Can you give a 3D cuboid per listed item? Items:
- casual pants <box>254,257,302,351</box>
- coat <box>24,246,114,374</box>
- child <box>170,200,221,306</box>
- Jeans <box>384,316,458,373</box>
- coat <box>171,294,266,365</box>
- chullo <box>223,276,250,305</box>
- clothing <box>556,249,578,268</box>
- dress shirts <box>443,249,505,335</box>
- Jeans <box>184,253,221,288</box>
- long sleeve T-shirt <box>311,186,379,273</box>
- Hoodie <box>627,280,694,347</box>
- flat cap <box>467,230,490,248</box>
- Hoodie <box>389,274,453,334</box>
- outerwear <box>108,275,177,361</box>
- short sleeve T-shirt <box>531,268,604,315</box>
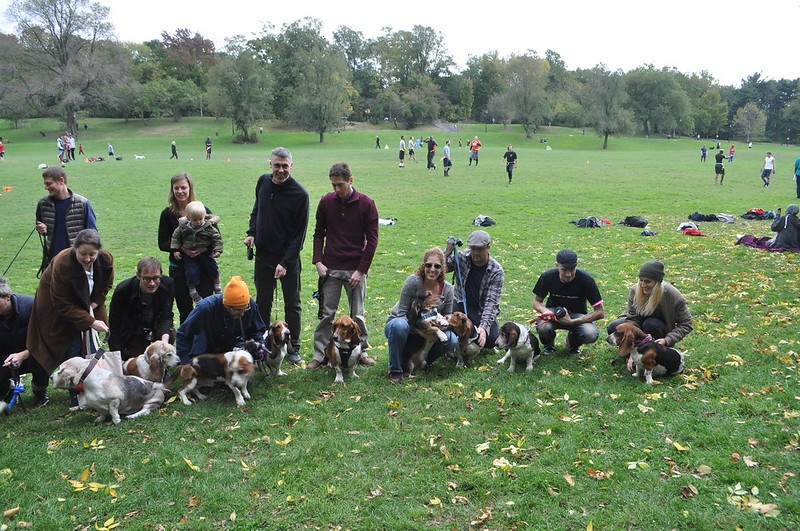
[{"bbox_3d":[-2.780,0.779,17.133,1.124,2.664,0.710,4,36,-5],"label":"casual pants"},{"bbox_3d":[-6.935,0.856,15.953,1.540,2.493,1.830,16,18,36],"label":"coat"},{"bbox_3d":[-4.496,-0.284,16.762,1.101,2.222,0.748,-2,13,-6],"label":"child"},{"bbox_3d":[0.463,1.692,16.354,0.658,1.215,0.348,34,8,29],"label":"Jeans"},{"bbox_3d":[-3.778,1.447,16.202,1.955,1.536,1.262,5,9,-26],"label":"coat"},{"bbox_3d":[-3.369,0.549,15.830,0.615,0.541,0.544,-3,4,29],"label":"chullo"},{"bbox_3d":[3.635,-0.144,16.410,0.380,0.398,0.257,4,13,23],"label":"clothing"},{"bbox_3d":[1.595,0.609,16.739,1.705,1.479,1.099,11,14,30],"label":"dress shirts"},{"bbox_3d":[-4.424,0.096,16.731,0.693,0.890,0.456,-10,2,-40],"label":"Jeans"},{"bbox_3d":[-1.198,-0.756,16.509,1.397,1.809,0.566,1,12,11],"label":"long sleeve T-shirt"},{"bbox_3d":[5.620,0.954,16.372,0.943,1.181,1.524,-10,13,-41],"label":"Hoodie"},{"bbox_3d":[1.786,-0.585,16.666,0.337,0.219,0.466,2,4,21],"label":"flat cap"},{"bbox_3d":[0.513,0.938,16.568,1.433,1.267,1.144,7,-17,2],"label":"Hoodie"},{"bbox_3d":[-5.500,1.160,16.340,1.595,1.882,1.361,4,12,-18],"label":"outerwear"},{"bbox_3d":[3.872,0.518,17.165,1.858,1.283,0.992,1,8,19],"label":"short sleeve T-shirt"}]
